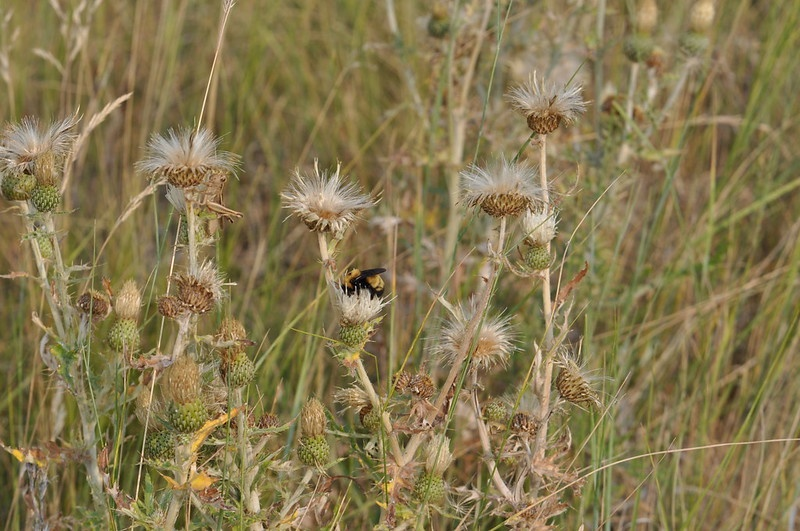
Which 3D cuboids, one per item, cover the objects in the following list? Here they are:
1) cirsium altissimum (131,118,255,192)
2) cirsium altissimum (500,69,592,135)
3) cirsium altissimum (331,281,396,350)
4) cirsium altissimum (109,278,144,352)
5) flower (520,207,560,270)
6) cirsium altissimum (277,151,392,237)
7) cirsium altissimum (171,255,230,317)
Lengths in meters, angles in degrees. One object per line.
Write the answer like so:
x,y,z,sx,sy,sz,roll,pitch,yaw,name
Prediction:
-0.903,-0.453,4.531,0.426,0.344,0.342,1,30,-17,cirsium altissimum
0.627,-0.704,4.607,0.283,0.259,0.287,-7,13,-29,cirsium altissimum
-0.181,0.205,4.504,0.242,0.268,0.284,-1,31,-19,cirsium altissimum
-1.178,0.231,4.518,0.125,0.251,0.216,0,30,-16,cirsium altissimum
0.606,-0.114,4.568,0.145,0.284,0.171,-1,-6,29,flower
-0.320,-0.281,4.587,0.355,0.258,0.386,7,7,30,cirsium altissimum
-0.841,0.102,4.485,0.239,0.209,0.231,35,-26,-29,cirsium altissimum
